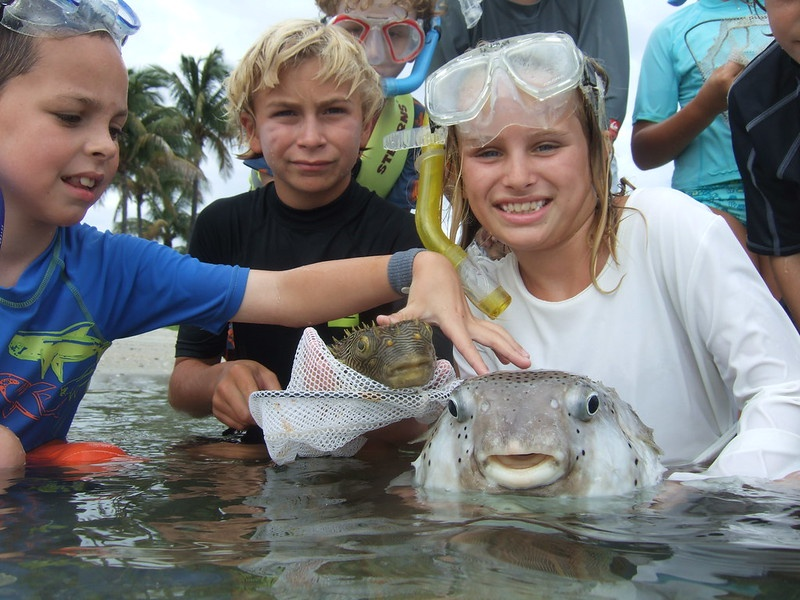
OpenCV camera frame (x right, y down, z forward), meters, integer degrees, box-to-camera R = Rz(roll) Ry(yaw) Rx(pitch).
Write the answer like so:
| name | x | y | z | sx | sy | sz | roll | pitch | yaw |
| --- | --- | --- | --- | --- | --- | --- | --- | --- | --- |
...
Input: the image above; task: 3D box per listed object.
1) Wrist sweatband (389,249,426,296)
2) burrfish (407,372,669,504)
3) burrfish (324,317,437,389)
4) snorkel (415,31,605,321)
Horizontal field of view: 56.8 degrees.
| name | x | y | z | sx | sy | sz | roll | pitch | yaw |
| --- | --- | --- | --- | --- | --- | --- | --- | --- | --- |
| Wrist sweatband | 0.028 | -0.132 | 3.268 | 0.160 | 0.198 | 0.097 | 3 | 52 | -9 |
| burrfish | 0.479 | 0.472 | 2.454 | 0.837 | 0.414 | 0.420 | -2 | 23 | -4 |
| burrfish | -0.079 | 0.192 | 2.831 | 0.433 | 0.227 | 0.185 | 9 | 25 | 22 |
| snorkel | 0.546 | -0.553 | 3.242 | 0.872 | 1.179 | 0.474 | -9 | 2 | 16 |
